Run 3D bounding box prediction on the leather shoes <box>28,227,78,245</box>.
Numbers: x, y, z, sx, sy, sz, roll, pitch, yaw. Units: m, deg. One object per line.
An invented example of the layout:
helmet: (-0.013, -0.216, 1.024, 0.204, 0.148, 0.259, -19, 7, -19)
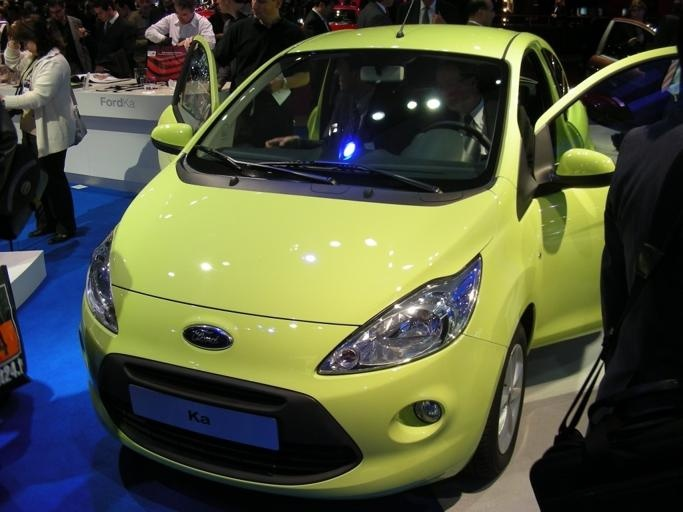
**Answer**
leather shoes: (-2.629, -0.179, 4.816, 0.268, 0.138, 0.099, 1, 34, 13)
